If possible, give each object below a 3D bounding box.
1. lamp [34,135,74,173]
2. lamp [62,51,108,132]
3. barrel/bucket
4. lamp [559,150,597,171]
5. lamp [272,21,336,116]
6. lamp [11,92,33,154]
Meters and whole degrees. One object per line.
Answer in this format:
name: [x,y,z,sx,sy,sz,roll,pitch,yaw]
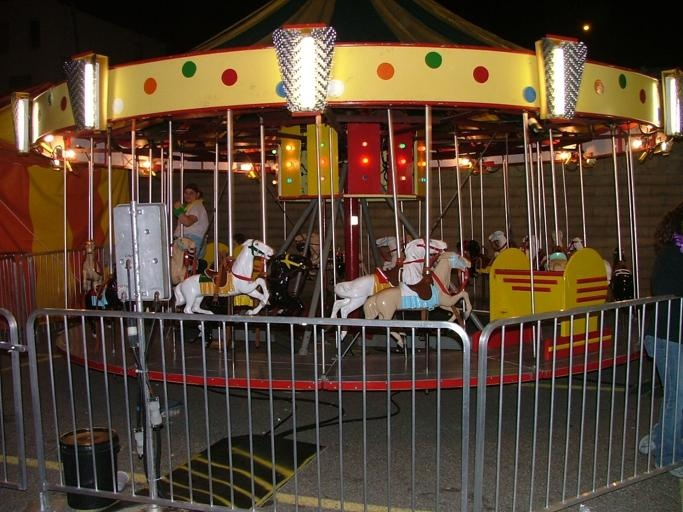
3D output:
lamp: [-3.800,-1.382,9.577,0.634,0.298,0.752,3,-10,0]
lamp: [-2.577,-1.670,7.305,0.472,0.759,0.251,0,4,3]
barrel/bucket: [-2.155,1.803,6.180,0.538,0.707,0.466,0,4,-1]
lamp: [3.923,-1.613,11.946,0.635,0.268,0.655,4,10,39]
lamp: [-0.313,-1.785,6.908,0.705,0.874,0.723,-1,2,-3]
lamp: [-3.740,-1.573,8.459,0.193,0.690,0.280,-2,5,-25]
